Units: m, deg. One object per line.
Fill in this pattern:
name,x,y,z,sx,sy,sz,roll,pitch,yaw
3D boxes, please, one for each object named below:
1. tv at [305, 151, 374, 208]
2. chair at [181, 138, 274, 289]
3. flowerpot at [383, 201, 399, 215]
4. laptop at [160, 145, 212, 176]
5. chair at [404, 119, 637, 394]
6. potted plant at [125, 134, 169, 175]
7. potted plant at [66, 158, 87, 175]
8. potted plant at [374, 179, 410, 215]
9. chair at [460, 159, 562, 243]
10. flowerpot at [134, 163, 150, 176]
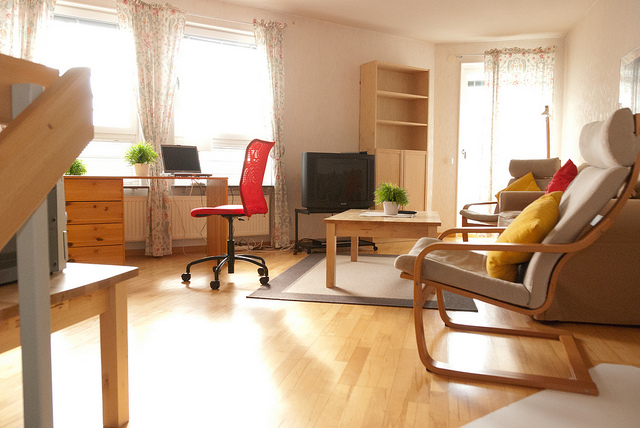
tv,0.360,-0.413,5.798,0.895,0.721,0.488,2,7,20
chair,-0.849,-0.047,4.403,0.827,1.378,1.563,-3,12,-9
flowerpot,0.639,-0.046,3.981,0.118,0.086,0.119,2,4,25
laptop,-1.422,-0.564,4.748,0.444,0.308,0.392,-4,10,-41
chair,1.039,0.197,3.289,1.650,2.043,1.318,0,2,15
potted plant,-1.894,-0.597,4.721,0.356,0.369,0.366,-5,-1,-14
potted plant,-2.333,-0.456,4.262,0.143,0.170,0.337,-5,13,-19
potted plant,0.700,-0.164,4.091,0.318,0.276,0.313,-4,9,-18
chair,2.261,-0.088,5.410,0.983,1.128,0.917,-4,8,-24
flowerpot,-1.851,-0.464,4.659,0.152,0.136,0.160,-11,15,-39
